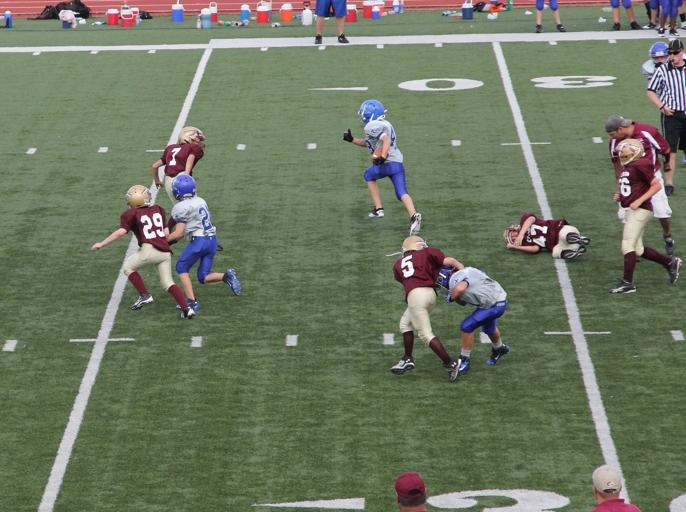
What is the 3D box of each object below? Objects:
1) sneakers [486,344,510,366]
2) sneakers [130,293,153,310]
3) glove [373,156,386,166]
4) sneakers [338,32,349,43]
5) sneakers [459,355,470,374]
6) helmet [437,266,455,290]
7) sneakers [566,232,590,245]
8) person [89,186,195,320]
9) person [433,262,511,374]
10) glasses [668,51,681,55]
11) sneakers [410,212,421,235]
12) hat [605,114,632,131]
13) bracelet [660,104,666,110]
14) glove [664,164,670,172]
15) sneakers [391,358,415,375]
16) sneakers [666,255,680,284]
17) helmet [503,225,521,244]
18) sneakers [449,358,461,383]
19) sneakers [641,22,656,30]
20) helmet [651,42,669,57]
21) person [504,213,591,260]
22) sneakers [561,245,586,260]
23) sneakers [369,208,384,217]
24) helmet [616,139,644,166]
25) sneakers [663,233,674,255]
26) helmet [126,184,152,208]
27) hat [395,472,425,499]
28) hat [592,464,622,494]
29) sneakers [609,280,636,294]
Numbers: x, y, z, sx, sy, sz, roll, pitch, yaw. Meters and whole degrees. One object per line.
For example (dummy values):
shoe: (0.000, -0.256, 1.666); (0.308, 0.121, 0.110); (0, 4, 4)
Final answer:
sneakers: (1.451, 0.938, 9.886); (0.211, 0.120, 0.079); (-47, 43, 11)
sneakers: (-2.042, 0.478, 10.876); (0.325, 0.118, 0.105); (-20, -23, 15)
glove: (0.420, -1.098, 12.324); (0.139, 0.098, 0.062); (-2, 43, -5)
sneakers: (-0.001, -3.880, 18.926); (0.117, 0.094, 0.261); (-5, 11, -13)
sneakers: (1.108, 1.002, 9.668); (0.089, 0.082, 0.225); (-5, 8, 23)
helmet: (0.934, 0.193, 9.582); (0.164, 0.162, 0.177); (27, 31, 7)
sneakers: (2.555, -0.183, 11.540); (0.311, 0.089, 0.110); (12, -1, -14)
person: (-2.004, -0.008, 10.679); (0.663, 1.278, 0.989); (-18, 34, -7)
person: (1.222, 0.574, 9.652); (0.575, 1.042, 0.679); (-9, 34, 5)
glasses: (3.975, -2.437, 12.675); (0.088, 0.018, 0.089); (1, 0, -43)
sneakers: (0.851, -0.364, 12.202); (0.142, 0.264, 0.115); (0, 56, -9)
hat: (2.893, -1.388, 11.072); (0.252, 0.158, 0.235); (0, 30, 13)
bracelet: (3.889, -1.790, 12.826); (0.058, 0.072, 0.044); (-7, 34, 6)
glove: (3.922, -1.066, 12.804); (0.074, 0.069, 0.087); (-11, -7, 42)
sneakers: (0.568, 1.021, 9.734); (0.284, 0.096, 0.148); (-10, 28, 10)
sneakers: (3.442, 0.144, 11.082); (0.201, 0.264, 0.117); (-2, 15, 0)
helmet: (1.885, -0.238, 11.946); (0.276, 0.193, 0.189); (7, 4, 14)
sneakers: (1.015, 1.035, 9.552); (0.136, 0.221, 0.079); (0, 42, 1)
sneakers: (5.616, -4.183, 19.239); (0.354, 0.107, 0.092); (1, 29, 5)
helmet: (3.881, -2.527, 13.055); (0.256, 0.166, 0.248); (1, 27, 9)
person: (2.230, -0.211, 11.706); (0.957, 0.315, 0.418); (11, 72, 17)
sneakers: (2.521, -0.028, 11.599); (0.266, 0.074, 0.139); (-3, 5, -12)
sneakers: (0.403, -0.513, 12.766); (0.104, 0.069, 0.192); (-1, 9, -11)
helmet: (2.947, -1.071, 10.812); (0.268, 0.250, 0.355); (-2, 30, 13)
sneakers: (3.554, -0.116, 11.520); (0.105, 0.209, 0.192); (1, -4, 30)
helmet: (-2.071, -0.601, 10.702); (0.217, 0.199, 0.279); (-10, 30, -2)
hat: (0.438, 1.511, 7.034); (0.179, 0.134, 0.246); (-7, 29, 2)
hat: (1.756, 1.476, 7.042); (0.228, 0.085, 0.251); (-4, 22, 1)
sneakers: (2.824, 0.334, 10.883); (0.364, 0.106, 0.104); (-2, 7, -2)
